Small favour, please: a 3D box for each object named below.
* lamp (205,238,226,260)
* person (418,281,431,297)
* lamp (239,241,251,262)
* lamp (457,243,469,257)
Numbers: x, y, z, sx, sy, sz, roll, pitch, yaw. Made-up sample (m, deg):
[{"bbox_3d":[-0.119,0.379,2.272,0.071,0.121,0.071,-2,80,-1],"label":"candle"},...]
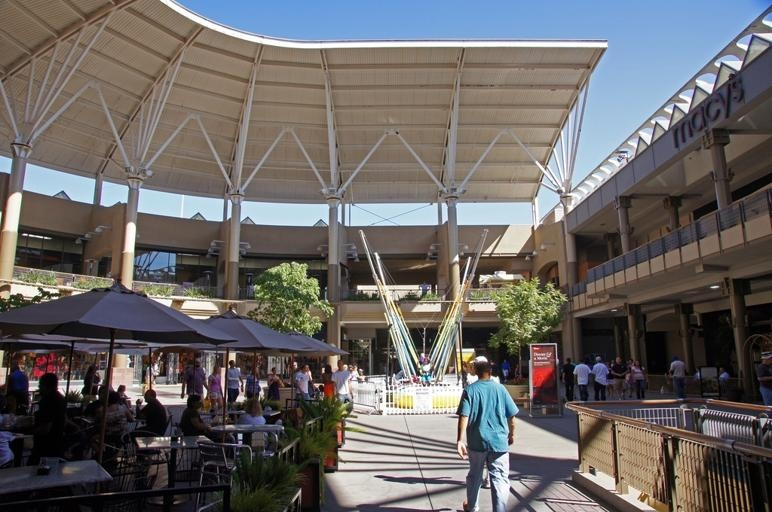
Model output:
[{"bbox_3d":[-13.409,-0.589,44.771,1.185,0.978,2.404,5,-15,-24],"label":"lamp"},{"bbox_3d":[3.104,2.594,45.530,0.868,1.633,0.514,0,-1,12],"label":"person"},{"bbox_3d":[-10.813,-0.478,44.322,1.287,0.666,1.638,0,-55,-20],"label":"lamp"},{"bbox_3d":[6.352,-0.503,46.642,1.289,1.123,0.835,0,-11,3],"label":"lamp"}]
